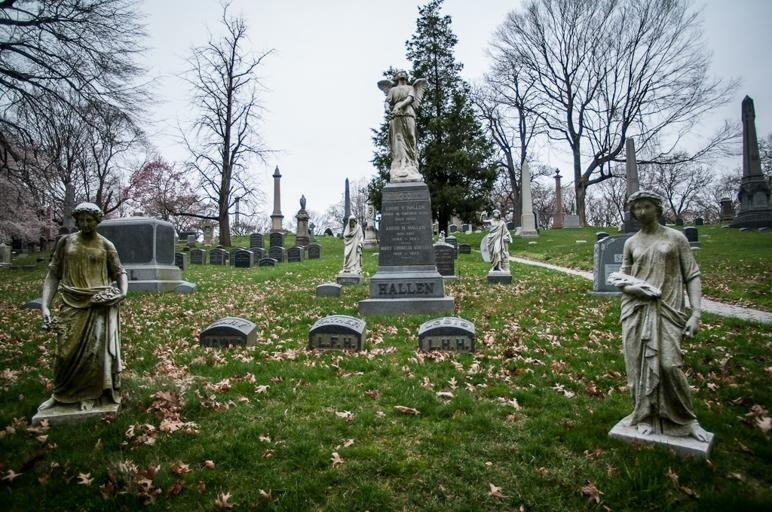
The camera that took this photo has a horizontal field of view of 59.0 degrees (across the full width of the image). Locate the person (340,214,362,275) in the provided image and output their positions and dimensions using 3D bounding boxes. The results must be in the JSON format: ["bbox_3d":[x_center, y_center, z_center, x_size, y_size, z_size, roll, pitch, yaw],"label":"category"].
[{"bbox_3d":[-1.296,-0.418,25.814,0.766,2.198,1.220,-2,4,-3],"label":"person"}]
